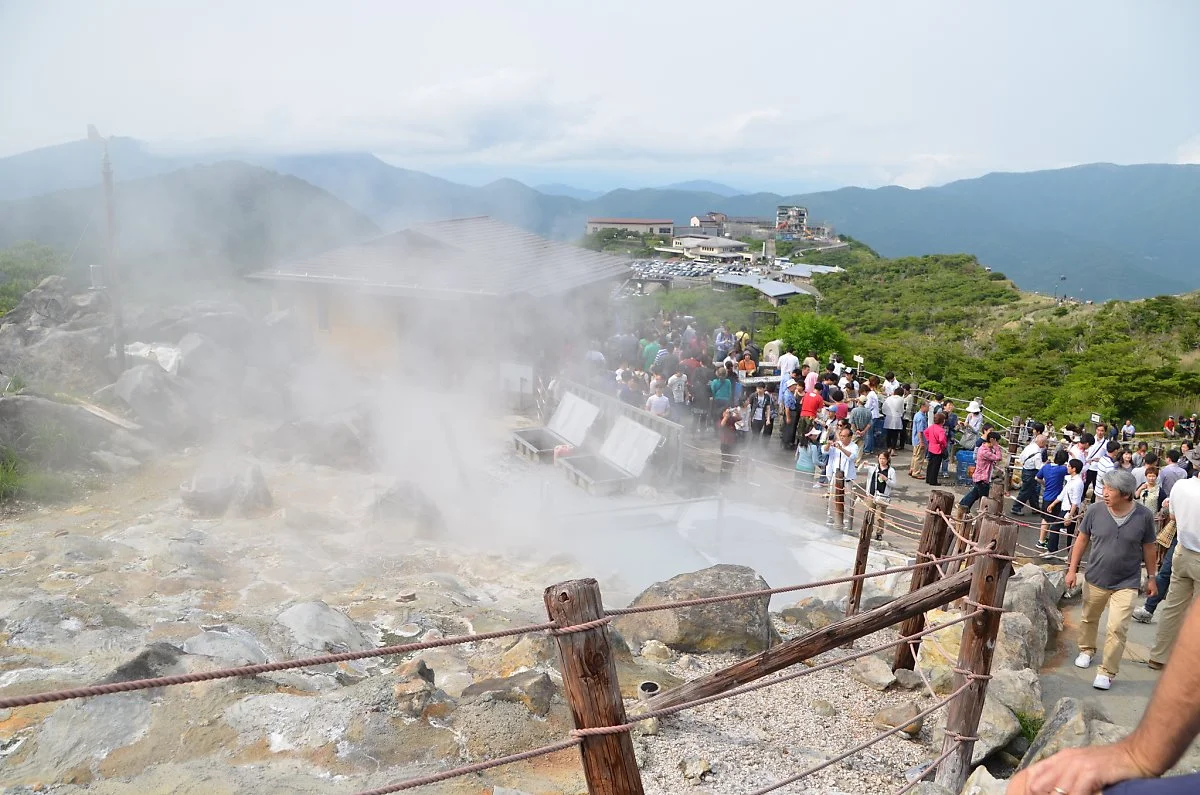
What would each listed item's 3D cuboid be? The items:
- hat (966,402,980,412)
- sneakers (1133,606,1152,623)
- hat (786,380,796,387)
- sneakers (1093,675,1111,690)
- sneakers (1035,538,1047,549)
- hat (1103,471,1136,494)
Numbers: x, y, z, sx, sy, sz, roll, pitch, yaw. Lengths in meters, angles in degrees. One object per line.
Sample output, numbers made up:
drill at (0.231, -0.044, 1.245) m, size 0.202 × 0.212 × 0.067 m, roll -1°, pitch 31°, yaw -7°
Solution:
hat at (7.626, 0.201, 13.841) m, size 0.306 × 0.154 × 0.284 m, roll 9°, pitch -4°, yaw 4°
sneakers at (7.064, 2.895, 8.957) m, size 0.121 × 0.155 × 0.250 m, roll 0°, pitch 0°, yaw -11°
hat at (4.434, -0.327, 15.828) m, size 0.158 × 0.215 × 0.444 m, roll 1°, pitch 6°, yaw -3°
sneakers at (5.426, 3.137, 7.372) m, size 0.144 × 0.060 × 0.190 m, roll -2°, pitch -11°, yaw 16°
sneakers at (7.342, 2.473, 11.388) m, size 0.129 × 0.143 × 0.356 m, roll 2°, pitch -1°, yaw 26°
hat at (5.567, 0.924, 7.302) m, size 0.383 × 0.260 × 0.208 m, roll 0°, pitch 7°, yaw -8°
